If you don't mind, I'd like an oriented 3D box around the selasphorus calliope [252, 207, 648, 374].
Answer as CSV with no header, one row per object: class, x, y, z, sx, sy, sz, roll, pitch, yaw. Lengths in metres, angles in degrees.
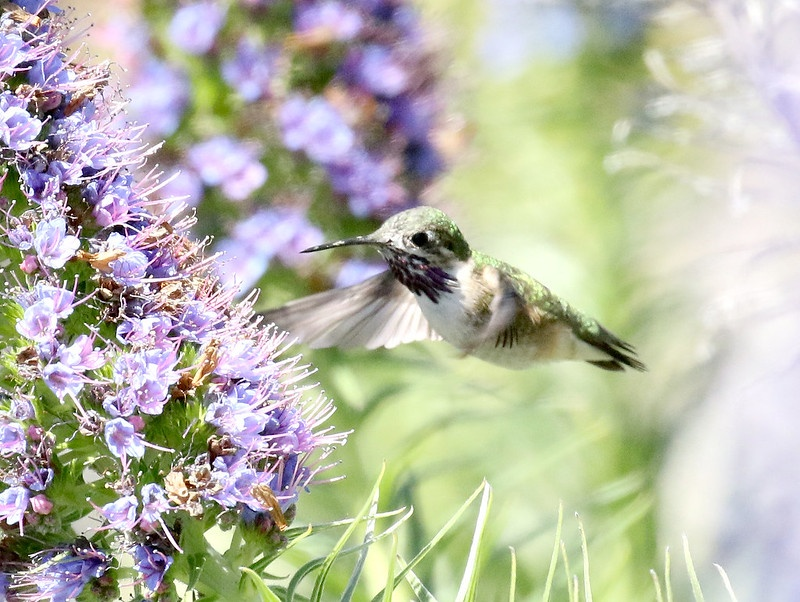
selasphorus calliope,0.111,0.015,1.974,0.507,0.202,0.335,2,-8,-13
